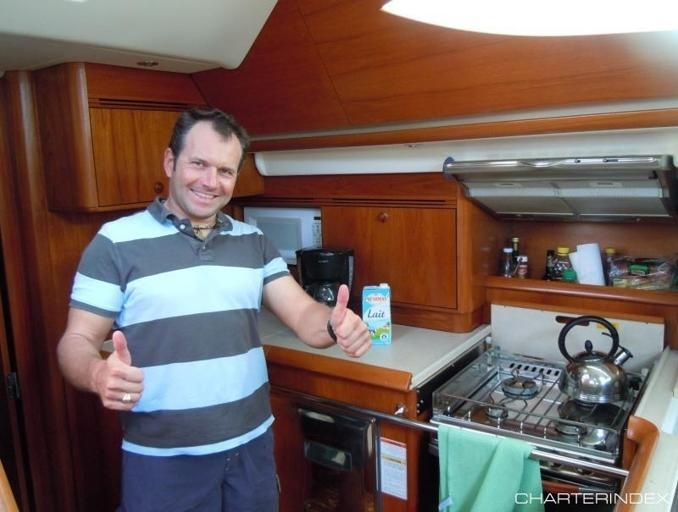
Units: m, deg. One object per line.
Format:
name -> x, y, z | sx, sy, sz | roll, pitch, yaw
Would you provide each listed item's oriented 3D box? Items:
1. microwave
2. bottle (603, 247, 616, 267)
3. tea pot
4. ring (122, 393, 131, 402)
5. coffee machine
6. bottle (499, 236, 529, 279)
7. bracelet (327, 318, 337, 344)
microwave -> -0.272, -0.151, 2.770 | 0.512, 0.332, 0.290 | 12, 22, 30
bottle -> 1.133, -0.004, 2.174 | 0.045, 0.073, 0.060 | 1, 4, 29
tea pot -> 0.864, 0.350, 1.871 | 0.260, 0.311, 0.314 | 6, 7, 31
ring -> -0.489, 0.325, 1.195 | 0.018, 0.017, 0.007 | 9, 5, 3
coffee machine -> -0.066, 0.084, 2.319 | 0.251, 0.254, 0.237 | 0, 10, -5
bottle -> 0.795, 0.002, 2.359 | 0.119, 0.181, 0.136 | 0, 4, 19
bracelet -> -0.023, 0.217, 1.507 | 0.024, 0.062, 0.048 | -6, -4, -5
